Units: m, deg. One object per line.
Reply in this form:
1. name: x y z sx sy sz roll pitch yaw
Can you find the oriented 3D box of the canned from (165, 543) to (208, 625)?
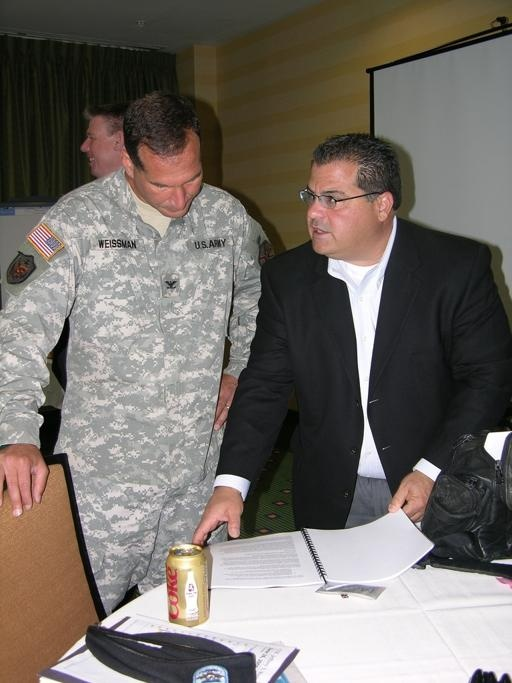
1. canned: -0.103 0.371 0.867 0.063 0.119 0.066 1 3 -6
